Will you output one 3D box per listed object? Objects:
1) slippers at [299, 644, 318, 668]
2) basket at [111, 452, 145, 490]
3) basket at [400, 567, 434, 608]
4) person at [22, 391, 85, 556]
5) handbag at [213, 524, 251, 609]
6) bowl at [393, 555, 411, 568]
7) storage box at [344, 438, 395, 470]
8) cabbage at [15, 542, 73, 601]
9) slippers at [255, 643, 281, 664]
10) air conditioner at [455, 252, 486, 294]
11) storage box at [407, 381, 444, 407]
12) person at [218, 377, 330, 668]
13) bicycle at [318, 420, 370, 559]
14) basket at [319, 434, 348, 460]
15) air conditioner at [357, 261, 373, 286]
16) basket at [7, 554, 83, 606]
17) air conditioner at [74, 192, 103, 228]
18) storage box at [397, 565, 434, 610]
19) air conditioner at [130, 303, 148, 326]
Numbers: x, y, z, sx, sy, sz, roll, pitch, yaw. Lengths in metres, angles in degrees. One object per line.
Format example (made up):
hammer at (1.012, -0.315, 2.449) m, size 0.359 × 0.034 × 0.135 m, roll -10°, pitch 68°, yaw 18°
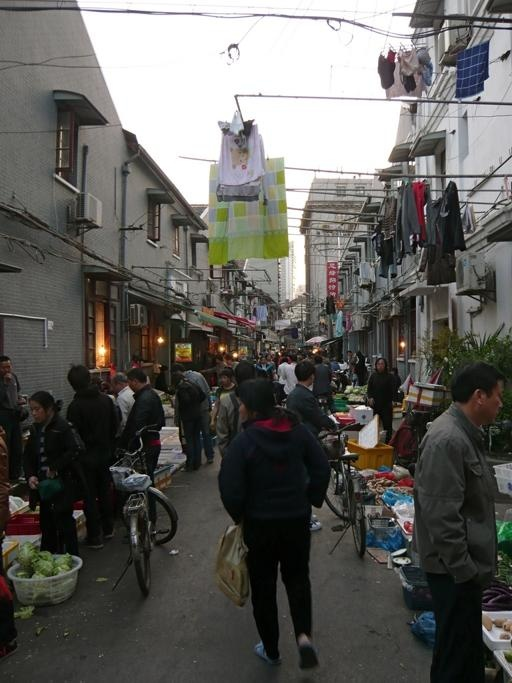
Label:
slippers at (0.299, 1.815, 3.701) m, size 0.102 × 0.156 × 0.132 m, roll -2°, pitch 2°, yaw 2°
basket at (-1.191, 1.198, 5.852) m, size 0.275 × 0.266 × 0.545 m, roll -2°, pitch 2°, yaw -14°
basket at (1.211, 1.825, 4.786) m, size 0.243 × 0.202 × 0.349 m, roll 1°, pitch 7°, yaw 3°
person at (-1.754, 1.148, 5.426) m, size 0.487 × 1.456 × 0.497 m, roll -1°, pitch 2°, yaw 0°
handbag at (-0.111, 1.311, 3.886) m, size 0.302 × 0.454 × 0.281 m, roll 1°, pitch 2°, yaw 9°
bowl at (1.221, 1.837, 5.344) m, size 0.128 × 0.089 × 0.138 m, roll -1°, pitch -1°, yaw 0°
storage box at (1.581, 1.531, 8.819) m, size 0.460 × 0.423 × 0.840 m, roll 0°, pitch 2°, yaw -9°
cabbage at (-1.650, 1.803, 4.937) m, size 0.358 × 0.325 × 0.435 m, roll -1°, pitch 0°, yaw -3°
slippers at (0.076, 1.957, 4.025) m, size 0.077 × 0.073 × 0.173 m, roll -2°, pitch 8°, yaw -29°
air conditioner at (3.890, -1.217, 11.489) m, size 0.360 × 0.856 × 0.770 m, roll 0°, pitch 3°, yaw -2°
storage box at (2.230, 0.709, 8.440) m, size 0.346 × 0.249 × 0.362 m, roll 0°, pitch -2°, yaw 40°
person at (0.125, 1.111, 3.800) m, size 0.642 × 1.774 × 0.421 m, roll -1°, pitch 2°, yaw 5°
bicycle at (0.918, 1.429, 6.258) m, size 0.379 × 0.997 × 1.378 m, roll 3°, pitch 1°, yaw -7°
basket at (0.785, 1.058, 6.446) m, size 0.185 × 0.257 × 0.252 m, roll -6°, pitch -27°, yaw -6°
air conditioner at (5.246, -3.169, 30.387) m, size 0.584 × 1.126 × 1.390 m, roll -1°, pitch 2°, yaw 2°
basket at (-1.595, 1.821, 5.101) m, size 0.475 × 0.302 × 0.716 m, roll 1°, pitch 5°, yaw -6°
air conditioner at (-3.141, -2.402, 11.792) m, size 0.265 × 0.570 × 0.872 m, roll 0°, pitch 1°, yaw 0°
storage box at (1.213, 1.833, 4.812) m, size 0.247 × 0.203 × 0.351 m, roll 1°, pitch 8°, yaw 3°
air conditioner at (-2.973, -0.659, 15.968) m, size 0.200 × 0.582 × 0.585 m, roll 0°, pitch 1°, yaw 7°
